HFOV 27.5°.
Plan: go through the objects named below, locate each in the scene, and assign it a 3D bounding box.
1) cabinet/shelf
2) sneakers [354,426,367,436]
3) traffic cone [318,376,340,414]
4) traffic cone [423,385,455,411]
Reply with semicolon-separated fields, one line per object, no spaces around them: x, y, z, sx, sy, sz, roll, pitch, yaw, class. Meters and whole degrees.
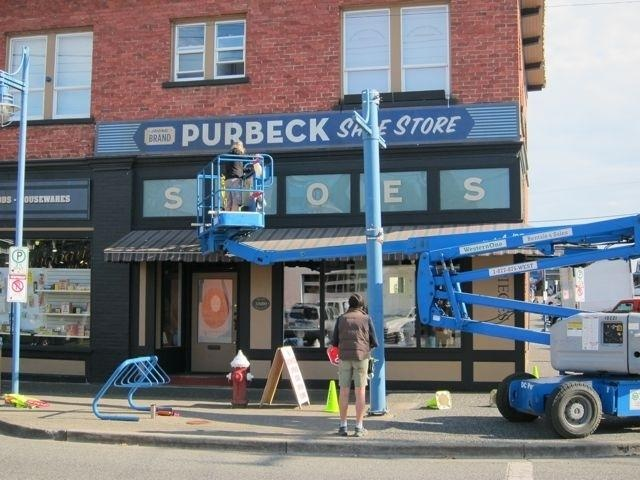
-5.985;1.609;30.500;1.476;1.298;0.453;-2;-6;15;cabinet/shelf
0.767;3.624;24.790;0.286;0.152;0.221;-8;16;-25;sneakers
0.237;3.315;27.258;0.562;0.580;0.545;1;-12;-1;traffic cone
2.436;3.304;27.070;0.434;0.279;0.434;4;-1;-22;traffic cone
